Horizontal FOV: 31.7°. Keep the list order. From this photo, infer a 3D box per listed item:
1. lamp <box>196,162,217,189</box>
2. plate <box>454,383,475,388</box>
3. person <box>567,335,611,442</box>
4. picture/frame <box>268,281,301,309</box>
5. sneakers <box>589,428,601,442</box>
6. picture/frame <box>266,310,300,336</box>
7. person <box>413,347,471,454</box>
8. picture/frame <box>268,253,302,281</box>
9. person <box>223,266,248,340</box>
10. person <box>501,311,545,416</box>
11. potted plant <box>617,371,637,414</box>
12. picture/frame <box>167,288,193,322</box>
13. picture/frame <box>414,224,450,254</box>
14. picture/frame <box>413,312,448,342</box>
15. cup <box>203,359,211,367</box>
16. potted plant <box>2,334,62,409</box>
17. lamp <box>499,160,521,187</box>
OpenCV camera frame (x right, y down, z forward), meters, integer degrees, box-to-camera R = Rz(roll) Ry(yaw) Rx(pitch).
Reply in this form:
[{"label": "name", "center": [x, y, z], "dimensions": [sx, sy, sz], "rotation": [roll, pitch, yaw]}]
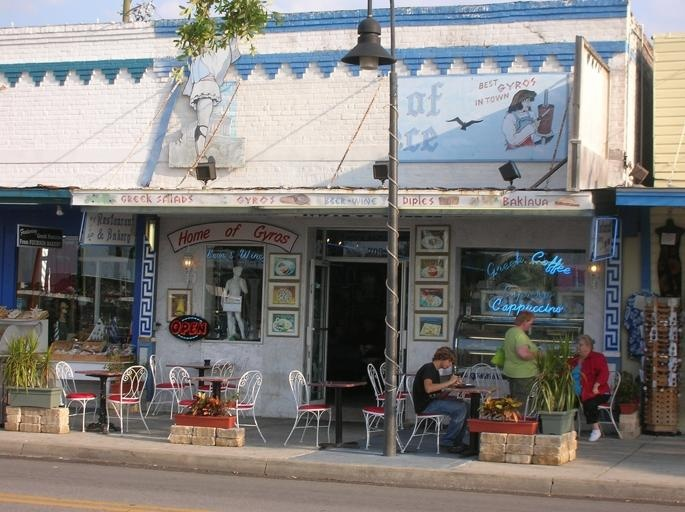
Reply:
[{"label": "lamp", "center": [-2.705, -1.636, 24.347], "dimensions": [0.535, 0.510, 0.301], "rotation": [4, 12, 20]}, {"label": "plate", "center": [2.150, 2.274, 21.046], "dimensions": [0.337, 0.060, 0.436], "rotation": [-1, -6, 5]}, {"label": "person", "center": [4.552, 2.433, 22.143], "dimensions": [0.677, 1.917, 0.745], "rotation": [-2, -6, 12]}, {"label": "picture/frame", "center": [-1.130, 0.827, 24.726], "dimensions": [0.535, 0.415, 0.024], "rotation": [-1, -4, 19]}, {"label": "sneakers", "center": [4.569, 3.248, 21.769], "dimensions": [0.110, 0.142, 0.332], "rotation": [-30, -3, 24]}, {"label": "picture/frame", "center": [-1.149, 1.397, 24.668], "dimensions": [0.497, 0.377, 0.034], "rotation": [1, -8, 14]}, {"label": "person", "center": [1.778, 2.526, 21.237], "dimensions": [0.945, 1.821, 1.004], "rotation": [3, -7, -28]}, {"label": "picture/frame", "center": [-1.121, 0.250, 24.754], "dimensions": [0.547, 0.475, 0.044], "rotation": [0, 1, 18]}, {"label": "person", "center": [-2.206, 0.975, 25.099], "dimensions": [0.531, 1.548, 0.125], "rotation": [-2, -6, 20]}, {"label": "person", "center": [3.137, 1.858, 20.890], "dimensions": [0.508, 1.797, 0.938], "rotation": [1, -6, -14]}, {"label": "potted plant", "center": [5.323, 2.558, 22.556], "dimensions": [0.567, 0.747, 0.552], "rotation": [1, -1, 3]}, {"label": "picture/frame", "center": [-3.340, 1.066, 25.227], "dimensions": [0.673, 0.840, 0.059], "rotation": [1, -6, 4]}, {"label": "picture/frame", "center": [1.836, -0.313, 23.982], "dimensions": [0.571, 0.493, 0.028], "rotation": [1, -6, 6]}, {"label": "picture/frame", "center": [1.799, 1.431, 23.911], "dimensions": [0.560, 0.460, 0.027], "rotation": [0, -3, 13]}, {"label": "cup", "center": [-2.679, 2.159, 24.259], "dimensions": [0.119, 0.131, 0.137], "rotation": [-1, 1, 13]}, {"label": "potted plant", "center": [-5.836, 2.213, 22.712], "dimensions": [1.301, 1.809, 1.145], "rotation": [0, -7, -5]}, {"label": "lamp", "center": [3.253, -1.594, 23.234], "dimensions": [0.271, 0.380, 0.514], "rotation": [-21, -1, 4]}]
